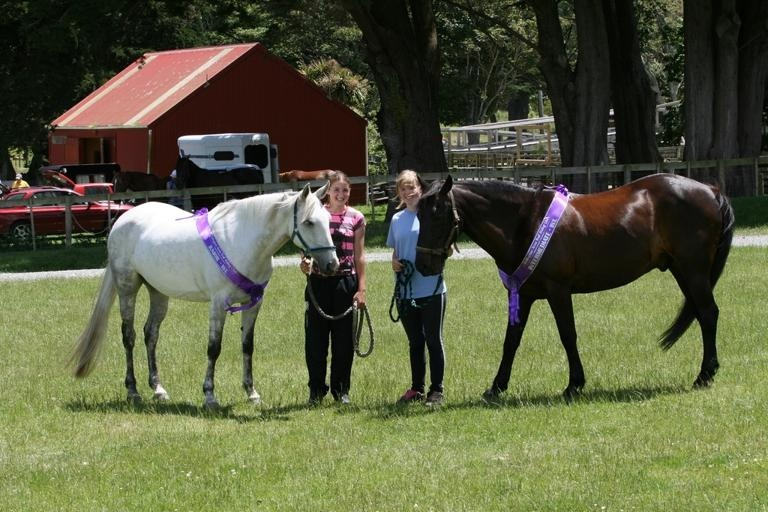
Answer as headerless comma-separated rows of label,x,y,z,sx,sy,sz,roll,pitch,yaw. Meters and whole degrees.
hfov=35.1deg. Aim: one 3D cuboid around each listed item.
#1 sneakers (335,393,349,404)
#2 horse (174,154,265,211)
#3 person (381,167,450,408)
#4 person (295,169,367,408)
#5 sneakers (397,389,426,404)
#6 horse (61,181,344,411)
sneakers,-0.812,2.762,23.312,0.229,0.217,0.147,-14,-11,30
horse,-5.202,-2.359,38.990,2.306,1.470,1.349,8,23,33
person,0.606,0.627,22.921,1.029,4.429,0.579,-1,6,11
person,-0.954,0.657,22.988,1.173,4.395,0.495,-3,6,-6
sneakers,0.512,2.723,23.245,0.547,0.254,0.211,-3,0,1
horse,-3.606,0.775,23.959,5.718,4.488,1.613,2,5,24
